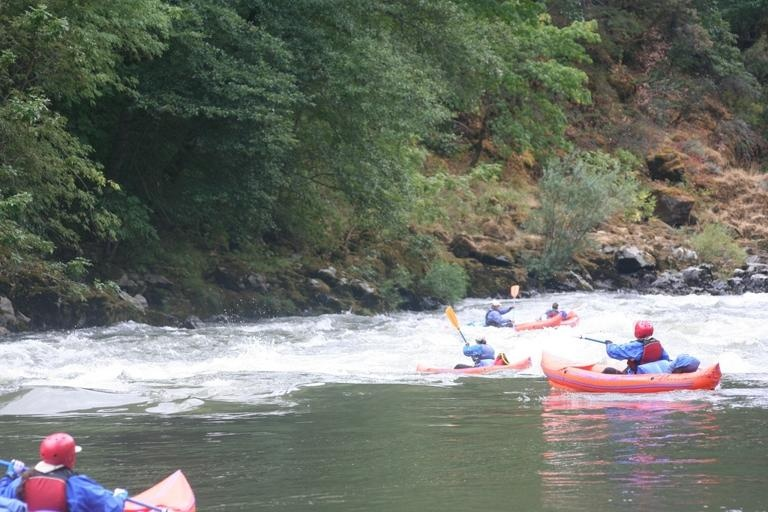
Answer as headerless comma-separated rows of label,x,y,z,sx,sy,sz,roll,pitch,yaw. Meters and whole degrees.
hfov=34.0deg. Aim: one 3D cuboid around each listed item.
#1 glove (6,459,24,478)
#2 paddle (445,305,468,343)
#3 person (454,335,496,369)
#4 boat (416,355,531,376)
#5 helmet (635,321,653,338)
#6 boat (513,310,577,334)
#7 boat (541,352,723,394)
glove,-9.657,5.625,32.916,0.396,0.464,0.133,20,-10,4
paddle,2.625,2.580,44.276,0.326,0.285,2.759,-38,-26,-5
person,3.056,3.169,40.581,1.138,1.444,1.051,6,-7,25
boat,2.872,3.637,40.189,3.832,0.567,1.079,-4,-1,-2
helmet,7.894,2.252,37.975,0.471,0.524,0.514,14,-5,-31
boat,5.975,2.430,46.142,2.979,0.659,0.937,-6,-1,-40
boat,7.442,3.792,38.245,4.023,0.853,1.874,1,-2,19
